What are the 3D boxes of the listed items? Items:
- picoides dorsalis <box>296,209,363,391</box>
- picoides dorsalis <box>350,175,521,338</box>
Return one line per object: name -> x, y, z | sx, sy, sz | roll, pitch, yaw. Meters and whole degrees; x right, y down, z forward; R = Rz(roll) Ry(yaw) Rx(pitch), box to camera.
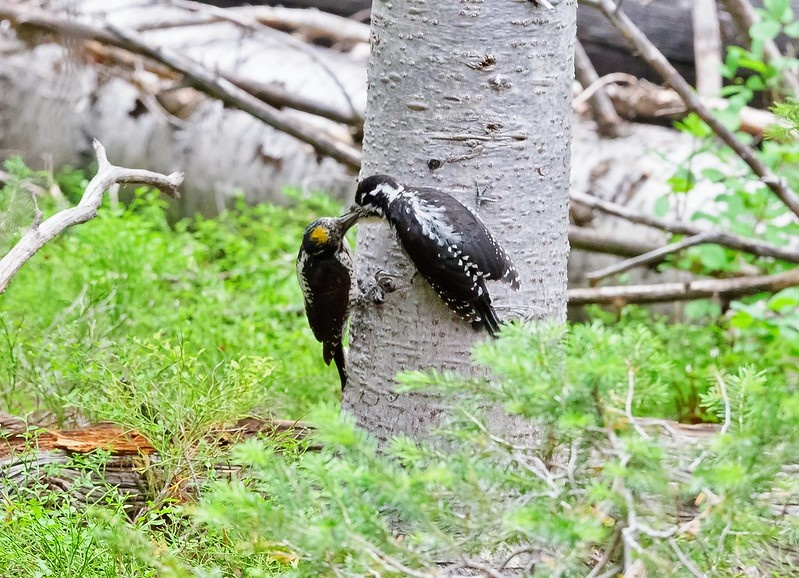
picoides dorsalis -> -0.322, 0.058, 4.726 | 0.332, 0.863, 0.209 | 6, -4, -24
picoides dorsalis -> 0.166, -0.175, 4.434 | 0.760, 0.343, 0.379 | 39, 70, 3
